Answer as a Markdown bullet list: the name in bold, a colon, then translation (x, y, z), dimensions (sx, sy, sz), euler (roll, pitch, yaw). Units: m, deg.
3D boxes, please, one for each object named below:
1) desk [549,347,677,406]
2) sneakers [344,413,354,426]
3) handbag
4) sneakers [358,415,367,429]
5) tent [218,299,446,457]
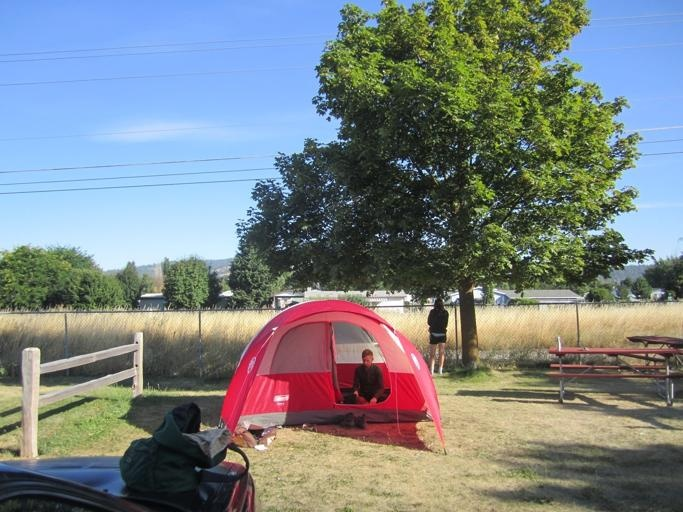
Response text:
- **desk**: translation (6.995, 2.790, 16.098), dimensions (3.355, 1.200, 6.525), euler (-1, -5, 18)
- **sneakers**: translation (0.148, 3.143, 12.367), dimensions (0.194, 0.231, 0.187), euler (1, -4, 1)
- **handbag**: translation (-1.788, 2.282, 7.180), dimensions (0.821, 0.566, 1.104), euler (-2, 13, 45)
- **sneakers**: translation (0.407, 3.155, 12.259), dimensions (0.155, 0.226, 0.220), euler (1, -4, 1)
- **tent**: translation (-0.430, 2.346, 13.067), dimensions (3.203, 1.913, 2.886), euler (1, -12, -4)
